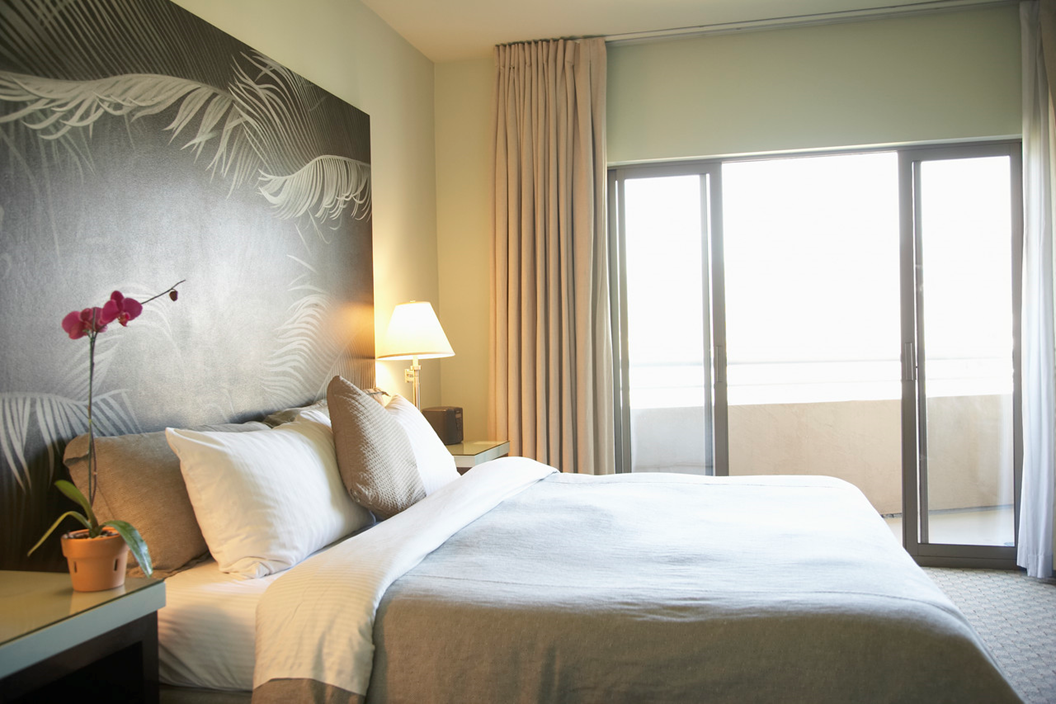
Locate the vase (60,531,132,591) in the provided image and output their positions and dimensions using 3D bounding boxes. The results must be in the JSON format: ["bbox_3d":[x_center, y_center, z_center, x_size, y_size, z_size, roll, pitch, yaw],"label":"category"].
[{"bbox_3d":[-1.488,0.734,2.806,0.205,0.162,0.214,-10,-12,40],"label":"vase"}]

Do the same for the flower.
[{"bbox_3d":[-1.566,0.153,3.137,0.408,0.815,0.932,-4,15,-17],"label":"flower"}]
